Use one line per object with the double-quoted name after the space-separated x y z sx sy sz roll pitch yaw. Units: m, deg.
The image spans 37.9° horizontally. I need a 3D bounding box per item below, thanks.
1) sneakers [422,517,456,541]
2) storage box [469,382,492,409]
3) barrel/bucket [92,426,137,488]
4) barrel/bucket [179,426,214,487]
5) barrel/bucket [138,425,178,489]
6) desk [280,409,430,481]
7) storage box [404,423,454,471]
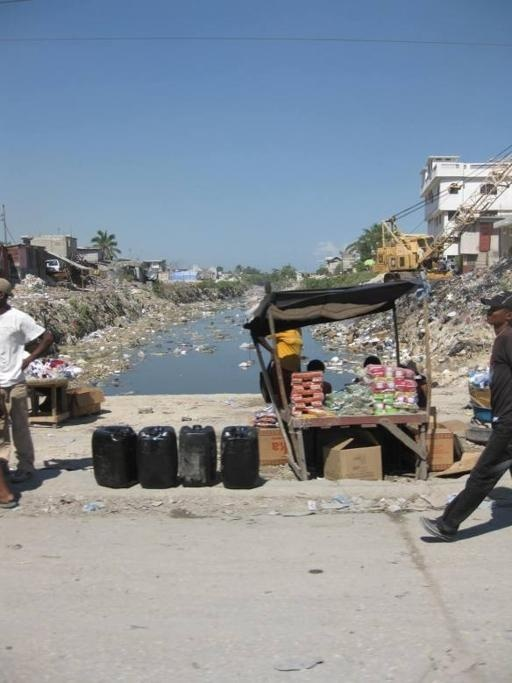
1.224 1.300 5.092 0.240 0.086 0.123 24 14 6 "sneakers"
2.784 0.688 9.269 0.361 0.392 0.169 0 -1 34 "storage box"
-1.256 1.041 6.686 0.388 0.482 0.419 -1 8 0 "barrel/bucket"
-0.520 1.034 6.707 0.336 0.538 0.317 -1 9 0 "barrel/bucket"
-0.863 1.052 6.562 0.345 0.490 0.215 -2 9 -8 "barrel/bucket"
0.994 0.971 7.398 1.444 0.756 1.008 0 7 3 "desk"
1.701 1.102 7.500 0.440 0.343 0.322 6 -10 -41 "storage box"
